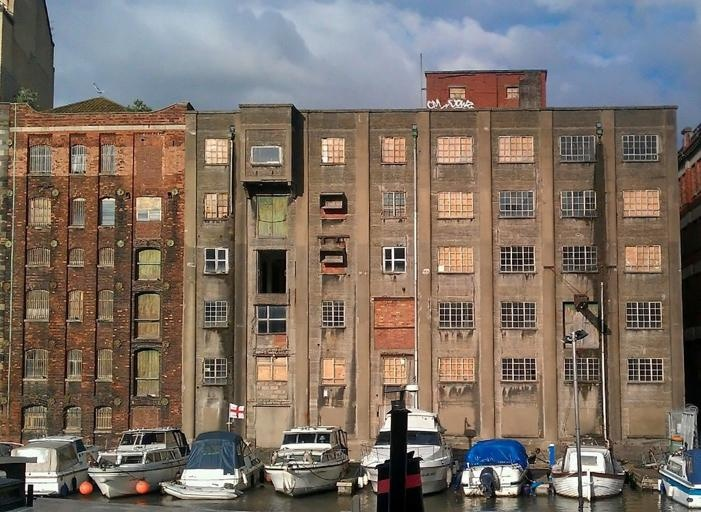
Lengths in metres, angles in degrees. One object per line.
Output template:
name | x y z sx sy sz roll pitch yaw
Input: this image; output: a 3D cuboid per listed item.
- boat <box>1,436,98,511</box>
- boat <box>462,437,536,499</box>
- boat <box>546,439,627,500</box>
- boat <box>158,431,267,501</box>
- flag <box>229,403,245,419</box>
boat | -20.301 13.952 92.032 4.793 4.321 6.104 -3 -9 -2
boat | 9.271 13.626 91.445 4.208 3.647 1.973 -4 -9 1
boat | 15.227 13.951 92.526 4.282 3.356 5.107 -7 -7 22
boat | -8.577 13.476 92.017 6.978 4.430 2.793 4 -12 -38
flag | -7.985 10.788 100.526 1.100 1.123 2.341 -3 -10 -6
